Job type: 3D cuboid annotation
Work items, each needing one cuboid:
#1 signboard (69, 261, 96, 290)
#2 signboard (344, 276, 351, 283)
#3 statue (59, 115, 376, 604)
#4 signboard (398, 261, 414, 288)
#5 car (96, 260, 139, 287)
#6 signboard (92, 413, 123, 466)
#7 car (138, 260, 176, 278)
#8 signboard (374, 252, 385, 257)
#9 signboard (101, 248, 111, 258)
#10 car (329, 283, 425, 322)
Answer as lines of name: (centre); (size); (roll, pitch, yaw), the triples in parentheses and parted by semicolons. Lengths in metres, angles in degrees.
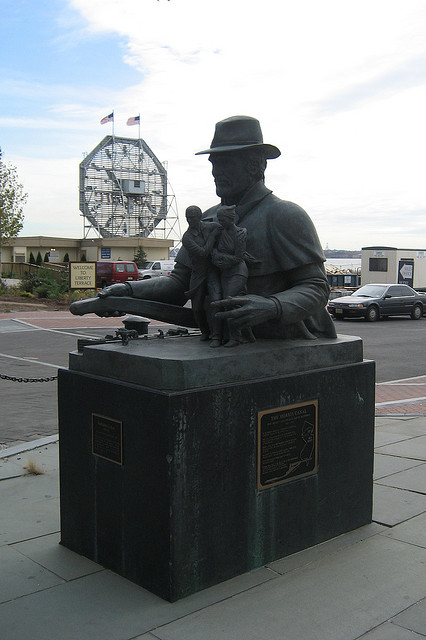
signboard: (-6.269, -2.131, 28.711); (1.464, 1.482, 0.209); (-2, 6, -31)
signboard: (10.176, -3.079, 45.797); (0.650, 0.577, 0.334); (1, -1, -27)
statue: (0.012, 0.119, 3.595); (1.785, 2.281, 1.288); (-4, 7, -38)
signboard: (14.281, -3.457, 44.617); (1.355, 1.803, 0.398); (-1, 3, -31)
car: (-5.370, -2.514, 32.933); (1.523, 1.462, 2.781); (1, 2, 26)
signboard: (-0.534, 0.600, 3.057); (0.037, 0.266, 0.318); (-1, 1, -39)
car: (-4.013, -3.535, 41.243); (2.130, 1.247, 4.051); (0, 2, -6)
signboard: (12.182, -4.824, 44.170); (0.616, 0.365, 0.315); (1, -2, 7)
signboard: (-10.182, -6.310, 56.563); (0.125, 1.202, 1.268); (2, -2, -38)
car: (6.773, -0.723, 24.773); (4.746, 1.498, 1.192); (-1, 2, -37)
